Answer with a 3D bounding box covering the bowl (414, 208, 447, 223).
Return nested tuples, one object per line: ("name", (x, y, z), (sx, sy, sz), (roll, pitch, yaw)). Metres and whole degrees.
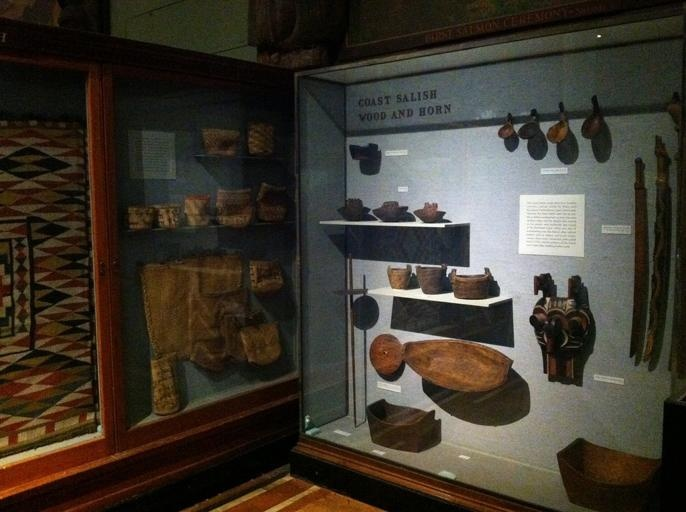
("bowl", (0.463, -0.214, 2.948), (0.175, 0.073, 0.037), (4, 10, 40))
